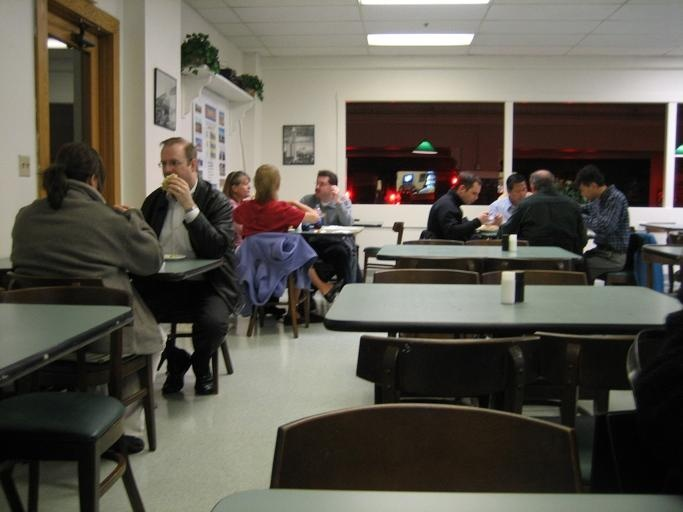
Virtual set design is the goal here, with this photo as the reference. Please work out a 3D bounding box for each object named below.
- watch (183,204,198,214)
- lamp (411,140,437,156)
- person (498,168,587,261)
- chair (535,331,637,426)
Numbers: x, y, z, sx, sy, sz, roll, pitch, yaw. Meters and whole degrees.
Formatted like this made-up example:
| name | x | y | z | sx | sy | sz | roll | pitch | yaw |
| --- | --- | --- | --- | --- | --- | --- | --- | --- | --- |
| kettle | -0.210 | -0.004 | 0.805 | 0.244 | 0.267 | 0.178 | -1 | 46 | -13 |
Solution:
| name | x | y | z | sx | sy | sz | roll | pitch | yaw |
| --- | --- | --- | --- | --- | --- | --- | --- | --- | --- |
| watch | -0.820 | -0.263 | 3.051 | 0.050 | 0.036 | 0.051 | 1 | -3 | -4 |
| lamp | 1.281 | -1.729 | 8.840 | 0.314 | 0.181 | 0.323 | 2 | 4 | 18 |
| person | 1.753 | -0.255 | 4.816 | 0.582 | 0.941 | 0.498 | 1 | 3 | 18 |
| chair | 0.695 | 0.327 | 1.719 | 0.287 | 0.310 | 0.278 | 0 | 4 | 8 |
